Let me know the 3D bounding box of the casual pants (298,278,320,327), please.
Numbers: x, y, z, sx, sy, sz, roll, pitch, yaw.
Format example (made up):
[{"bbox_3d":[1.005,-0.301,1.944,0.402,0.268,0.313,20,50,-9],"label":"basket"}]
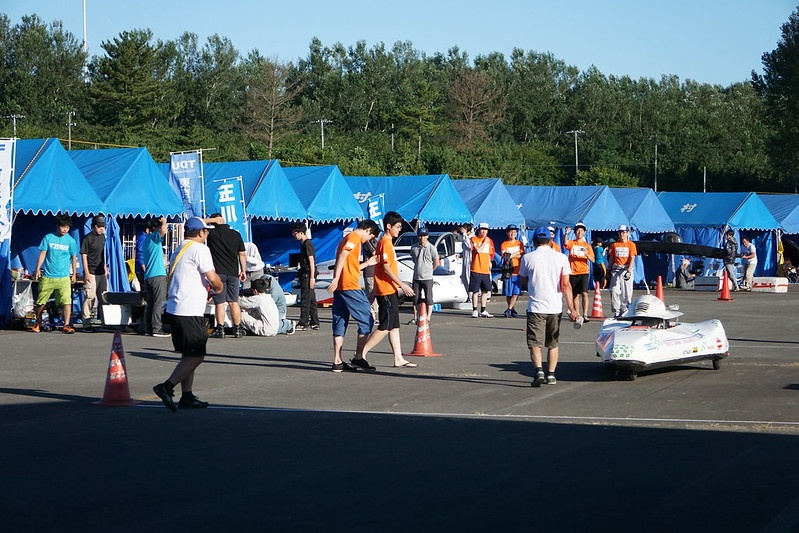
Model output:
[{"bbox_3d":[-2.014,0.817,24.174,0.323,1.159,0.488,3,4,19],"label":"casual pants"}]

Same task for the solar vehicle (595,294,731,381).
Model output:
[{"bbox_3d":[4.254,1.250,18.195,2.238,1.197,1.227,-5,10,-29],"label":"solar vehicle"}]

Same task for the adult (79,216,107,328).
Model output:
[{"bbox_3d":[-6.733,0.161,23.946,0.536,2.464,1.766,-2,8,-16],"label":"adult"}]

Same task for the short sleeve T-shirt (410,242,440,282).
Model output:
[{"bbox_3d":[0.567,-0.052,24.455,0.870,1.134,0.553,2,-13,-2],"label":"short sleeve T-shirt"}]

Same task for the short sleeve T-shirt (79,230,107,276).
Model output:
[{"bbox_3d":[-6.771,-0.246,24.033,0.351,1.057,0.919,5,10,31],"label":"short sleeve T-shirt"}]

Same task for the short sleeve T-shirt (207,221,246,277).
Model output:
[{"bbox_3d":[-3.342,-0.277,20.915,1.105,1.256,0.481,-2,7,-11],"label":"short sleeve T-shirt"}]

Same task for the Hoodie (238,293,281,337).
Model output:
[{"bbox_3d":[-2.956,0.954,22.939,0.704,0.939,0.925,-13,28,-43],"label":"Hoodie"}]

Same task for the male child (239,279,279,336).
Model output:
[{"bbox_3d":[-3.129,0.840,22.955,1.038,1.174,0.829,13,10,-10],"label":"male child"}]

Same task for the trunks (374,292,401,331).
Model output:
[{"bbox_3d":[-0.210,0.804,18.927,0.360,0.627,0.504,-3,1,27],"label":"trunks"}]

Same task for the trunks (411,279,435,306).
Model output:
[{"bbox_3d":[0.533,0.597,23.591,0.684,0.465,1.426,-7,-2,7],"label":"trunks"}]

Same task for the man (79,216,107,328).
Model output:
[{"bbox_3d":[-6.728,0.164,23.929,0.536,2.464,1.730,-2,8,-16],"label":"man"}]

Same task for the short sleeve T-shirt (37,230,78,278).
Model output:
[{"bbox_3d":[-7.248,-0.204,23.085,1.083,1.196,0.472,1,0,-29],"label":"short sleeve T-shirt"}]

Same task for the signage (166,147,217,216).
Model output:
[{"bbox_3d":[-5.570,-2.154,28.620,0.825,1.793,1.365,-3,9,-17],"label":"signage"}]

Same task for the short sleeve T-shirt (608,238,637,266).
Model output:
[{"bbox_3d":[5.274,-0.305,25.789,0.573,0.646,0.348,-4,-21,32],"label":"short sleeve T-shirt"}]

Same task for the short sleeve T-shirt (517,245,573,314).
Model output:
[{"bbox_3d":[2.326,0.247,17.474,0.760,1.064,0.470,1,8,6],"label":"short sleeve T-shirt"}]

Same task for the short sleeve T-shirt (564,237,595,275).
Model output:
[{"bbox_3d":[4.110,-0.207,25.044,0.755,0.834,0.407,1,10,-2],"label":"short sleeve T-shirt"}]

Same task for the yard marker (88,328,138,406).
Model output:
[{"bbox_3d":[-4.159,1.510,16.124,0.851,1.036,0.872,0,2,19],"label":"yard marker"}]

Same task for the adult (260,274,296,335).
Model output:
[{"bbox_3d":[-2.623,0.649,23.519,0.890,0.567,1.290,-17,-36,-12],"label":"adult"}]

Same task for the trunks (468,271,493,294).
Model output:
[{"bbox_3d":[1.989,0.422,27.110,0.749,0.730,0.435,1,4,-12],"label":"trunks"}]
